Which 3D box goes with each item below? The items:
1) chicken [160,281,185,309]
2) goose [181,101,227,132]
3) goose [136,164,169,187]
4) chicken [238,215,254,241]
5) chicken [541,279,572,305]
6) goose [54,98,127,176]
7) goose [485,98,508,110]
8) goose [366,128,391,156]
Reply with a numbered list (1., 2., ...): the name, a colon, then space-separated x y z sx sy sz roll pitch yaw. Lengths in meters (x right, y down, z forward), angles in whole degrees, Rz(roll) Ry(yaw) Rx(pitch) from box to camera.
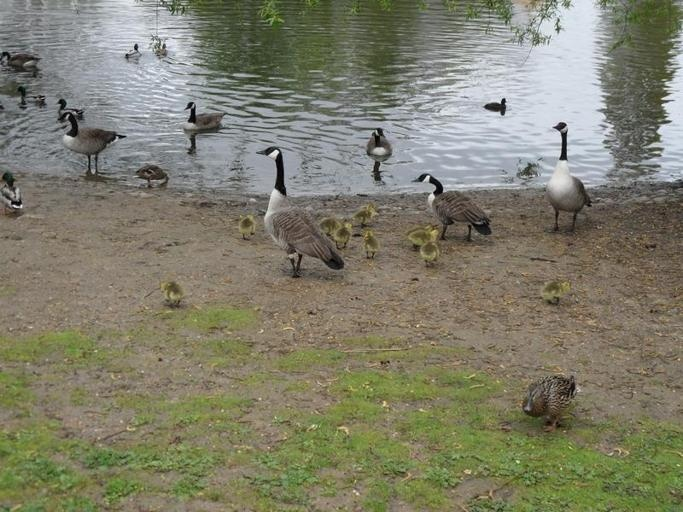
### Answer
1. chicken: -3.369 0.756 12.798 0.412 0.508 0.399 -1 14 -14
2. goose: -5.732 -5.790 26.916 1.652 1.188 1.041 -3 14 -21
3. goose: -6.274 -2.668 21.550 0.733 0.563 1.123 4 -4 7
4. chicken: -2.491 -0.754 16.944 0.381 0.602 0.586 0 13 -11
5. chicken: 4.618 0.735 13.228 0.819 0.412 0.389 -3 15 30
6. goose: -8.849 -3.969 22.601 1.346 2.052 1.674 5 13 11
7. goose: 7.351 -7.129 30.413 1.075 0.549 0.543 -3 24 -16
8. goose: 1.431 -4.418 24.804 1.042 1.152 1.221 -2 35 -1
